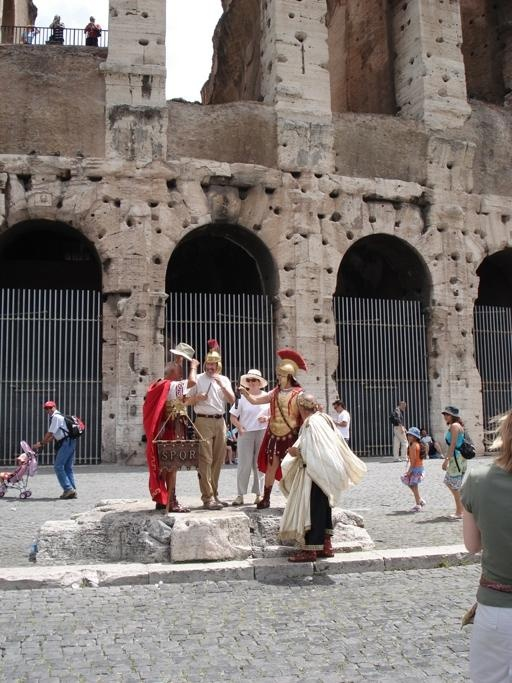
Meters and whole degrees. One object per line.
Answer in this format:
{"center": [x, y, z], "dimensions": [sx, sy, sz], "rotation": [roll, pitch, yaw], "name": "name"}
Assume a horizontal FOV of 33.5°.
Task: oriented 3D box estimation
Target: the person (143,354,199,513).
{"center": [-0.646, 0.699, 6.410], "dimensions": [0.396, 1.124, 0.439], "rotation": [0, -5, -7], "name": "person"}

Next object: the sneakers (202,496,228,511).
{"center": [-0.321, 1.233, 6.457], "dimensions": [0.221, 0.092, 0.070], "rotation": [-14, -11, 33], "name": "sneakers"}

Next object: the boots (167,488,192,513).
{"center": [-0.570, 1.168, 6.268], "dimensions": [0.155, 0.156, 0.382], "rotation": [0, -5, -5], "name": "boots"}

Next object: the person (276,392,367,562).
{"center": [0.436, 0.960, 5.654], "dimensions": [0.562, 0.968, 0.339], "rotation": [-1, -5, 4], "name": "person"}

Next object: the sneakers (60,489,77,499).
{"center": [-1.961, 1.587, 8.824], "dimensions": [0.186, 0.088, 0.142], "rotation": [-1, -5, 1], "name": "sneakers"}

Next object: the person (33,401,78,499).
{"center": [-2.445, 1.306, 10.334], "dimensions": [0.644, 1.356, 0.475], "rotation": [-1, -47, -14], "name": "person"}

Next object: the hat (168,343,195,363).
{"center": [-0.561, 0.082, 6.699], "dimensions": [0.211, 0.081, 0.187], "rotation": [32, -7, -37], "name": "hat"}

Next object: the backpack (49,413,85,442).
{"center": [-2.047, 0.889, 9.160], "dimensions": [0.357, 0.359, 0.281], "rotation": [-8, 5, -17], "name": "backpack"}

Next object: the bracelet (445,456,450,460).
{"center": [1.745, 1.065, 7.730], "dimensions": [0.037, 0.009, 0.036], "rotation": [-43, -5, -27], "name": "bracelet"}

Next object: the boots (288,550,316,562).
{"center": [0.302, 1.414, 5.617], "dimensions": [0.180, 0.118, 0.074], "rotation": [0, -14, 11], "name": "boots"}
